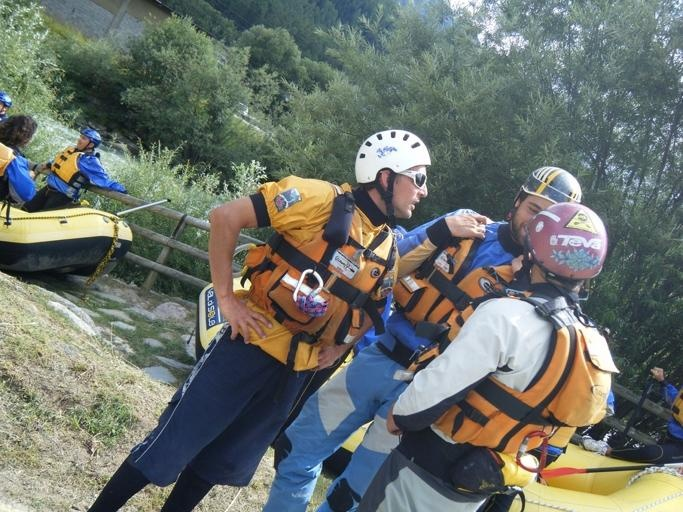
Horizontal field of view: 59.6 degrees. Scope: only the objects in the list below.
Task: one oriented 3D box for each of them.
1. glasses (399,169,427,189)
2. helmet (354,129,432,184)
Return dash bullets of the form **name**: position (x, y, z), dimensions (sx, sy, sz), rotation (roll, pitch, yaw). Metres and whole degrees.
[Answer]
- **glasses**: position (0.555, -0.600, 4.495), dimensions (0.138, 0.064, 0.142), rotation (19, 5, 1)
- **helmet**: position (0.474, -0.764, 4.661), dimensions (0.570, 0.499, 0.445), rotation (9, 11, 25)
